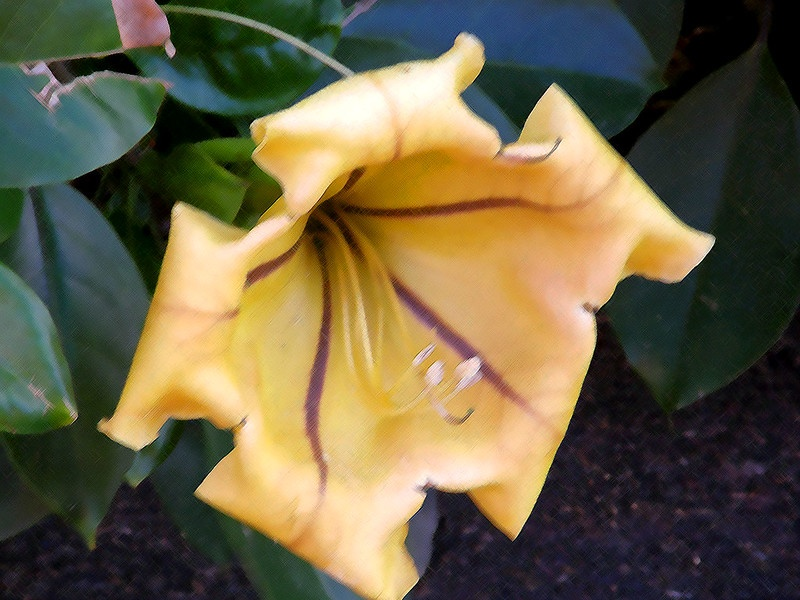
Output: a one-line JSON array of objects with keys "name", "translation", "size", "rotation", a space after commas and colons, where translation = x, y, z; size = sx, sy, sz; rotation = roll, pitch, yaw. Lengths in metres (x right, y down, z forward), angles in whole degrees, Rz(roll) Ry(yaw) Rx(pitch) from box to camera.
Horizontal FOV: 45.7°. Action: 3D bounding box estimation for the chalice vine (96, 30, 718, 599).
[{"name": "chalice vine", "translation": [-0.017, -0.018, 0.936], "size": [0.467, 0.464, 0.490], "rotation": [-14, 66, -12]}]
